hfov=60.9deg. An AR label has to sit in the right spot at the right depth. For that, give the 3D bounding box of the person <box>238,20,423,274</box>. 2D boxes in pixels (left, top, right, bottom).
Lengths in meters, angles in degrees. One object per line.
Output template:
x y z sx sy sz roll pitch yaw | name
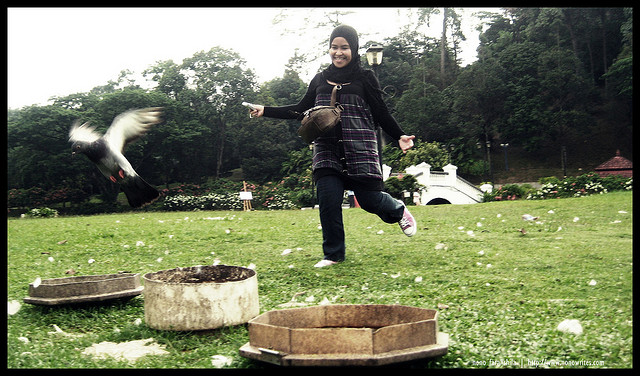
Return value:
0.369 -0.599 7.492 1.764 3.333 0.903 -5 4 -4 | person

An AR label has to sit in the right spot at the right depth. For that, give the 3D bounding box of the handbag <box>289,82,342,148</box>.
0.191 -0.998 7.494 0.769 0.466 0.794 29 -4 13 | handbag

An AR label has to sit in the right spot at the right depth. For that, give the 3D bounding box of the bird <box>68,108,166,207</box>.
-2.930 -0.413 8.174 1.444 1.471 0.887 -1 5 33 | bird
